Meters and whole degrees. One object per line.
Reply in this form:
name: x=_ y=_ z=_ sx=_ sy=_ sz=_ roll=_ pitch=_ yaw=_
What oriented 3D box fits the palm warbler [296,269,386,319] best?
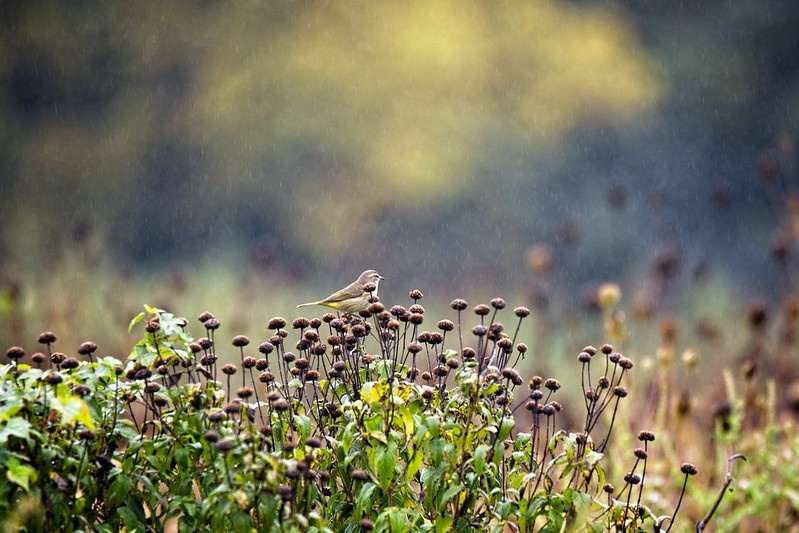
palm warbler: x=-0.566 y=0.215 z=11.476 sx=0.875 sy=0.334 sz=0.590 roll=-5 pitch=71 yaw=-5
